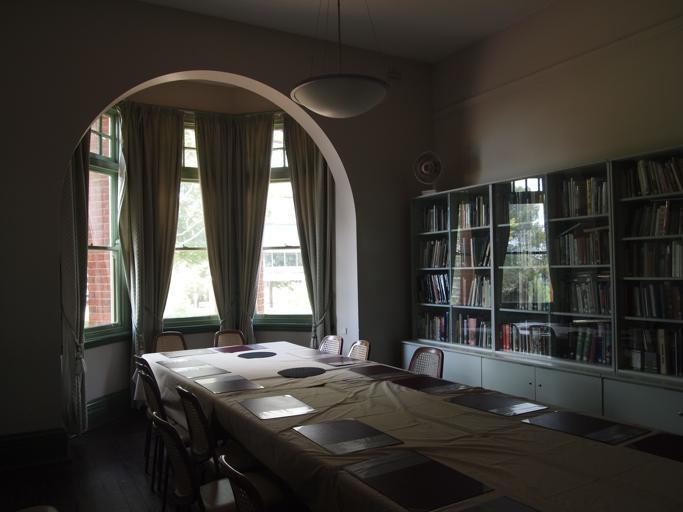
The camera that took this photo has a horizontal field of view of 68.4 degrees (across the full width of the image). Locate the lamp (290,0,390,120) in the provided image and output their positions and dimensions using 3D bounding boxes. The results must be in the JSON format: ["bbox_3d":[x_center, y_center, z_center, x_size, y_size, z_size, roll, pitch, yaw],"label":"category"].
[{"bbox_3d":[-0.011,-1.404,3.943,0.485,0.740,0.497,-1,0,-5],"label":"lamp"}]
